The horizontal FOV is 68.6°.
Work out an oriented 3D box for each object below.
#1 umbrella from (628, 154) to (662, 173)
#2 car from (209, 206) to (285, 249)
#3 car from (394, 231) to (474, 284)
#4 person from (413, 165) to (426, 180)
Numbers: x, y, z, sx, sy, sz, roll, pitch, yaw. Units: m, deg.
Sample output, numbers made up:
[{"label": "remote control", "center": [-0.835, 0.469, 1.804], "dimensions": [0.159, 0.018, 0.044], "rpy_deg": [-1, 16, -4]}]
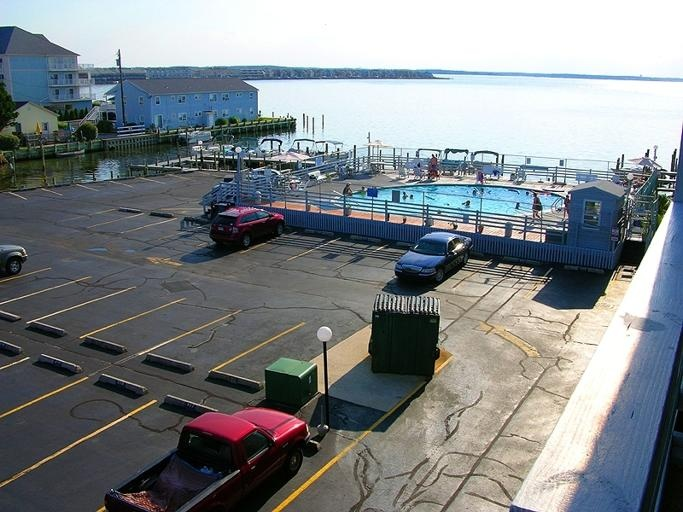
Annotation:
[{"label": "umbrella", "center": [24.676, -7.396, 40.421], "dimensions": [1.536, 1.114, 5.195], "rpy_deg": [10, 18, 35]}, {"label": "car", "center": [-4.998, -1.555, 26.767], "dimensions": [1.321, 1.966, 3.504], "rpy_deg": [11, 19, 35]}, {"label": "car", "center": [4.307, -0.222, 22.490], "dimensions": [2.152, 1.121, 4.372], "rpy_deg": [19, 32, 31]}, {"label": "person", "center": [6.913, -7.373, 43.926], "dimensions": [0.950, 1.208, 1.338], "rpy_deg": [0, 16, 6]}]
